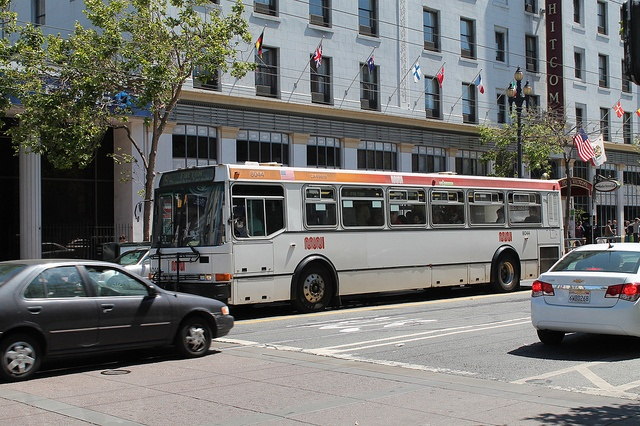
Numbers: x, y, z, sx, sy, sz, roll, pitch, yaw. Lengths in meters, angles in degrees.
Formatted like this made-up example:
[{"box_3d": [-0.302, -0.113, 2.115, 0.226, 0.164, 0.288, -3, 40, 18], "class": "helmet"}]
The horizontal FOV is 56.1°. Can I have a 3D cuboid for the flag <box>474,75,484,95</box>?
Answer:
[{"box_3d": [10.259, -8.295, 38.647, 0.383, 1.108, 1.163, -15, 37, 7], "class": "flag"}]

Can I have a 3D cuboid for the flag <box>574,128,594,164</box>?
[{"box_3d": [14.667, -3.762, 33.249, 0.896, 1.600, 2.034, 0, 1, 24], "class": "flag"}]
